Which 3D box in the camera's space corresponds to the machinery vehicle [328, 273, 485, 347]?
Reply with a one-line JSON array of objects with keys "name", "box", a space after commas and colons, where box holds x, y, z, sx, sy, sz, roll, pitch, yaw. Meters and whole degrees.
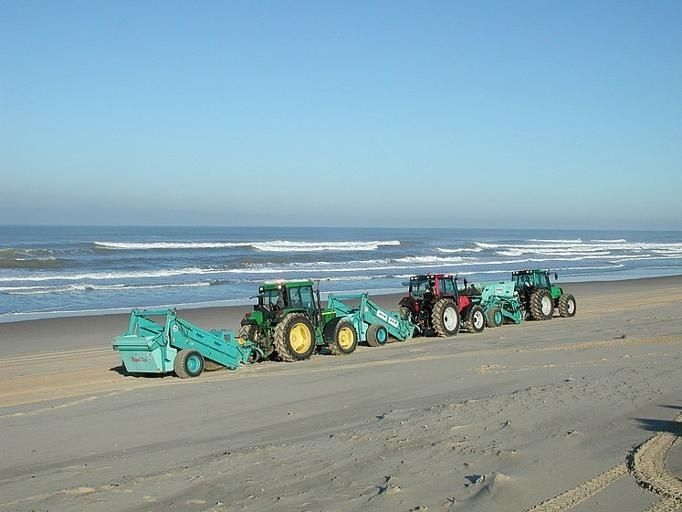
[{"name": "machinery vehicle", "box": [2.126, 1.557, 16.051, 5.890, 1.825, 1.846, -4, 4, -30]}]

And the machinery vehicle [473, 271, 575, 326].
[{"name": "machinery vehicle", "box": [6.238, 1.515, 18.467, 3.979, 1.383, 1.805, -9, 6, -33]}]

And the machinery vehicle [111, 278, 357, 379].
[{"name": "machinery vehicle", "box": [-2.424, 1.689, 12.488, 5.362, 2.217, 1.182, -4, -1, -33]}]
